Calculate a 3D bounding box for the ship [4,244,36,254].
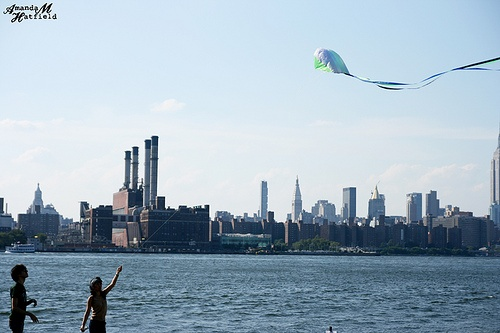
[{"bbox_3d":[-88.160,31.845,462.547,7.922,2.523,4.726,0,-2,-18],"label":"ship"}]
